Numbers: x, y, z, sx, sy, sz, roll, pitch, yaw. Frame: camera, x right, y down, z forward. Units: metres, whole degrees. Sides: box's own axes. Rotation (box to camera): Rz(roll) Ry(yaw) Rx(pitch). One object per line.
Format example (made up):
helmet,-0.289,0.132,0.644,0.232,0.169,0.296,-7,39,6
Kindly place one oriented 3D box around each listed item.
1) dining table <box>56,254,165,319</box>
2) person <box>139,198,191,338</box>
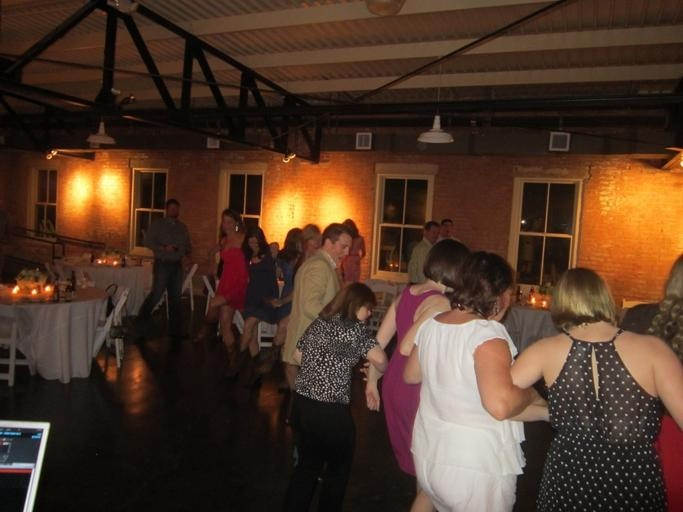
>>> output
dining table,-3.918,0.379,9.295,1.332,0.724,1.364,7,3,-1
person,-2.715,0.164,8.223,0.634,2.031,0.639,2,8,-1
